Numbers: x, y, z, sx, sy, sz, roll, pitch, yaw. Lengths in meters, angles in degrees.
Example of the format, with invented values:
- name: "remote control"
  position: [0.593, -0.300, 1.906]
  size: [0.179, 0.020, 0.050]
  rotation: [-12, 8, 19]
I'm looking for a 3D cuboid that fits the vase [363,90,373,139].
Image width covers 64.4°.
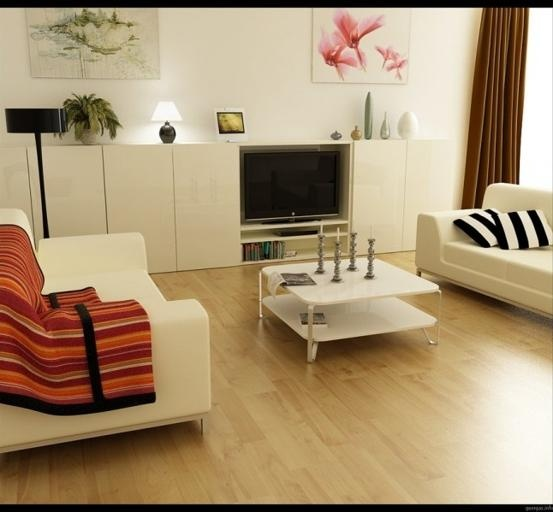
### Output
- name: "vase"
  position: [1.142, -1.735, 5.402]
  size: [0.118, 0.576, 0.245]
  rotation: [3, 14, 12]

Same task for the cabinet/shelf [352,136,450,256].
- name: "cabinet/shelf"
  position: [1.411, -0.716, 5.106]
  size: [1.403, 1.339, 0.456]
  rotation: [-3, 16, -14]

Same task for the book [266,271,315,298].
- name: "book"
  position: [0.113, 0.207, 3.136]
  size: [0.321, 0.130, 0.314]
  rotation: [-1, 13, -7]

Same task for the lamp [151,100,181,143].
- name: "lamp"
  position: [-1.134, -1.388, 4.576]
  size: [0.315, 0.431, 0.398]
  rotation: [-3, 14, -13]

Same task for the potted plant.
- name: "potted plant"
  position: [-1.791, -1.369, 4.265]
  size: [0.544, 0.449, 0.516]
  rotation: [-10, 23, -30]

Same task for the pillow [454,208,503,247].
- name: "pillow"
  position: [1.820, -0.211, 3.912]
  size: [0.326, 0.103, 0.350]
  rotation: [-21, 43, -9]

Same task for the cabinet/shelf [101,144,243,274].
- name: "cabinet/shelf"
  position: [-1.081, -0.515, 4.375]
  size: [1.265, 1.158, 0.407]
  rotation: [-4, 18, -15]

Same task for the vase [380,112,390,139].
- name: "vase"
  position: [1.356, -1.614, 5.437]
  size: [0.122, 0.341, 0.365]
  rotation: [4, 14, 14]

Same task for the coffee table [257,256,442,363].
- name: "coffee table"
  position: [0.544, 0.327, 3.319]
  size: [1.226, 0.465, 0.999]
  rotation: [-3, 14, -16]

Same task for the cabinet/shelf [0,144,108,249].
- name: "cabinet/shelf"
  position: [-1.986, -0.557, 3.869]
  size: [0.971, 0.890, 0.310]
  rotation: [-5, 18, -21]

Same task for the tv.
- name: "tv"
  position: [0.177, -0.794, 5.080]
  size: [1.208, 0.844, 0.152]
  rotation: [-5, 14, -18]

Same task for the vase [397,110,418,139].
- name: "vase"
  position: [1.570, -1.629, 5.393]
  size: [0.304, 0.396, 0.302]
  rotation: [-1, 18, 0]
